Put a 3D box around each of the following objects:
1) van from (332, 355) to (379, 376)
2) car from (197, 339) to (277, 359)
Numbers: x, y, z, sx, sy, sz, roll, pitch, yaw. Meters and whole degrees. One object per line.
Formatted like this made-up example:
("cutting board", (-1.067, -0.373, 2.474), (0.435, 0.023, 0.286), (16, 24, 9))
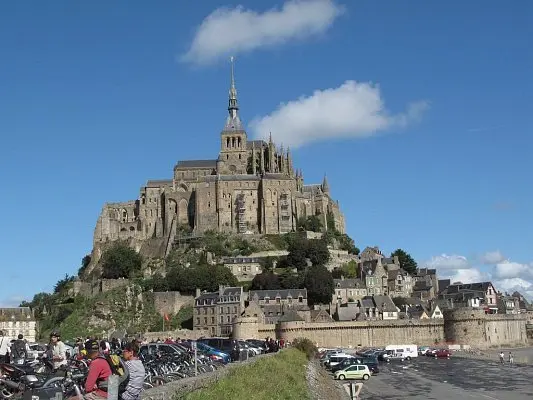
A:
("van", (8.279, 15.038, 62.054), (3.851, 1.367, 2.231), (2, -12, -7))
("car", (-2.819, 10.361, 49.394), (3.786, 1.380, 1.847), (3, -10, 15))
